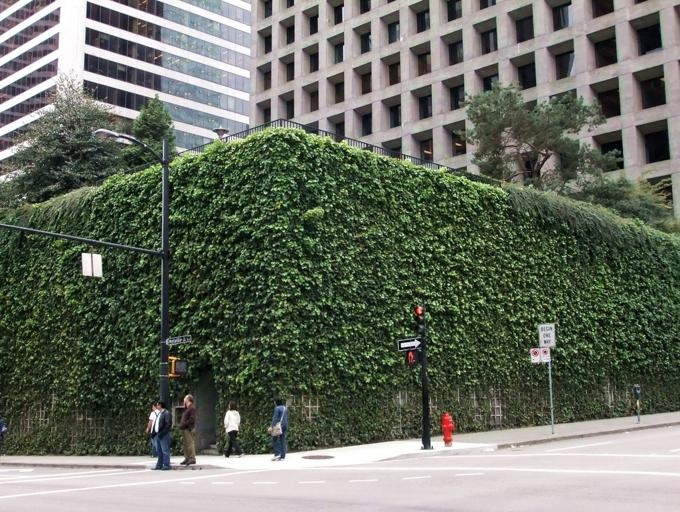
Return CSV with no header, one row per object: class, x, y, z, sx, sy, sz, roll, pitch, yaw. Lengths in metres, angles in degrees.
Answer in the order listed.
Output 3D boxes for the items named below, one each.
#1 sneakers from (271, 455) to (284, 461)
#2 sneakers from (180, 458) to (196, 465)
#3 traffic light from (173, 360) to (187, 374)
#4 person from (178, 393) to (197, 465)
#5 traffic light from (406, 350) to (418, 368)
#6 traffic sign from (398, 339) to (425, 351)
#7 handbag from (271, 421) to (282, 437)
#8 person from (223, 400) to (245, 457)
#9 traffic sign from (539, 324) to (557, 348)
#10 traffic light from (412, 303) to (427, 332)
sneakers,-2.460,8.034,38.272,0.492,0.232,0.176,-4,0,12
sneakers,-5.876,8.047,37.720,0.607,0.294,0.218,3,-9,4
traffic light,-6.522,4.535,39.443,0.549,0.613,0.203,10,-19,-41
person,-5.967,6.895,38.082,0.580,2.780,1.145,-1,-14,-10
traffic light,2.943,4.251,39.855,0.504,0.988,0.531,5,-9,-28
traffic sign,2.886,3.721,39.910,0.436,0.598,1.236,7,-19,-34
handbag,-2.471,6.838,38.124,0.409,0.465,0.196,-25,-32,21
person,-4.396,7.205,39.762,0.717,2.198,1.488,-1,-15,-7
traffic sign,9.243,3.632,43.062,0.683,1.071,0.402,-8,-15,19
traffic light,3.313,2.648,39.743,0.329,1.207,0.337,-1,-14,-7
